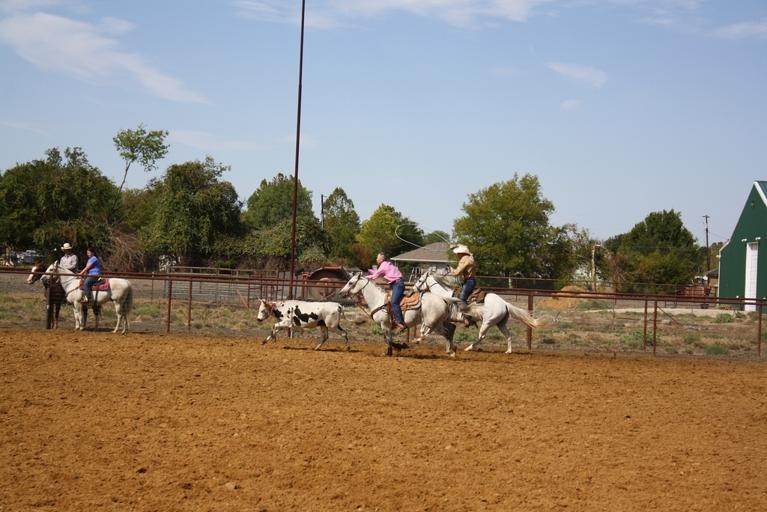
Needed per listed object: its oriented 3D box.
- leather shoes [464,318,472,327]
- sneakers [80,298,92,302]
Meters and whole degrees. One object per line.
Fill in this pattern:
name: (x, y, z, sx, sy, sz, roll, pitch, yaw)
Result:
leather shoes: (2.630, 2.120, 25.308, 0.207, 0.271, 0.102, -6, 3, 6)
sneakers: (-10.058, 1.517, 27.565, 0.383, 0.194, 0.164, 6, -4, -35)
